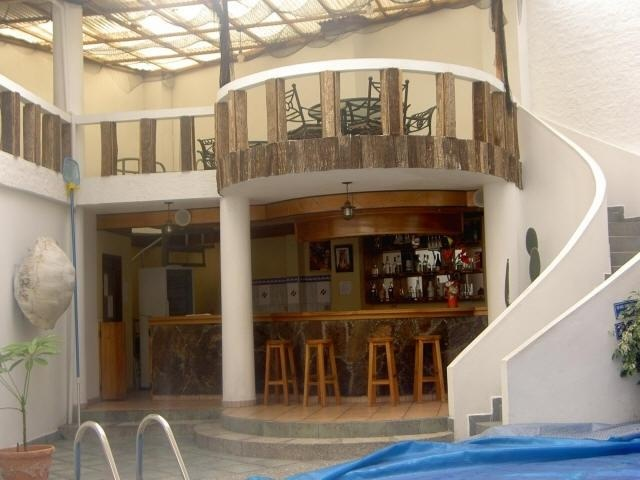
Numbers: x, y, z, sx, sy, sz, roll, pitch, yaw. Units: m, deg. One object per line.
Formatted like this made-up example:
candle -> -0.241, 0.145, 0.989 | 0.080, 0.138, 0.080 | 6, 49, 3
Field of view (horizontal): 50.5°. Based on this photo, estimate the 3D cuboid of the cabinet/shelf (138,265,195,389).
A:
cabinet/shelf -> -3.462, 1.798, 14.704 | 0.833, 2.523, 1.921 | -4, -7, 11
